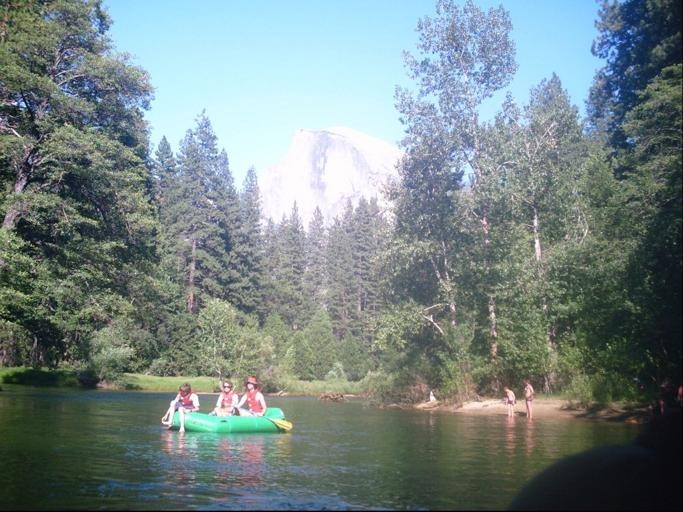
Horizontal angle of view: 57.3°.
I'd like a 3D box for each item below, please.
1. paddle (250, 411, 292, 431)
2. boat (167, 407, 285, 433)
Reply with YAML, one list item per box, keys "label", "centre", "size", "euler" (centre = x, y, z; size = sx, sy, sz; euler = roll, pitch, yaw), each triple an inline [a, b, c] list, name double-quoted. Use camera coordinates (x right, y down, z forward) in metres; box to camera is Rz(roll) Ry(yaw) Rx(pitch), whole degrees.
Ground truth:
- label: "paddle"
  centre: [-2.902, 7.212, 27.031]
  size: [0.359, 0.555, 3.191]
  euler: [-45, -38, 19]
- label: "boat"
  centre: [-4.526, 7.006, 26.385]
  size: [3.488, 1.003, 2.079]
  euler: [14, -21, -37]
